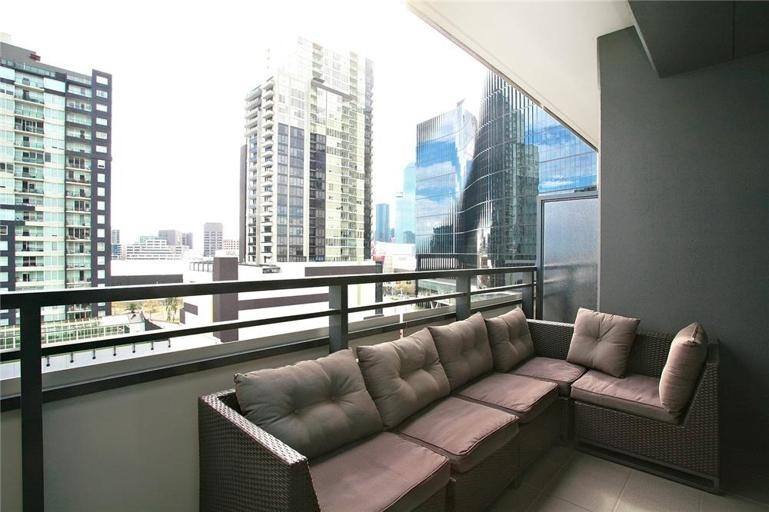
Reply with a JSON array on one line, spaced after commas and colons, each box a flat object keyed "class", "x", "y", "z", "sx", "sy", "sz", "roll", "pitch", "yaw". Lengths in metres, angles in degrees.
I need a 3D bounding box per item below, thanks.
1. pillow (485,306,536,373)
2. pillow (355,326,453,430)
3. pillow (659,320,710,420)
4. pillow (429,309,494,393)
[{"class": "pillow", "x": 1.473, "y": 0.955, "z": 6.129, "sx": 0.251, "sy": 0.594, "sz": 0.773, "roll": -7, "pitch": 0, "yaw": 43}, {"class": "pillow", "x": 0.235, "y": 1.182, "z": 5.302, "sx": 0.478, "sy": 0.761, "sz": 1.009, "roll": -1, "pitch": 5, "yaw": 42}, {"class": "pillow", "x": 3.131, "y": 1.107, "z": 5.517, "sx": 0.371, "sy": 0.791, "sz": 1.057, "roll": 6, "pitch": 9, "yaw": 35}, {"class": "pillow", "x": 0.807, "y": 1.025, "z": 5.581, "sx": 0.662, "sy": 0.535, "sz": 0.211, "roll": -5, "pitch": -5, "yaw": -44}]
